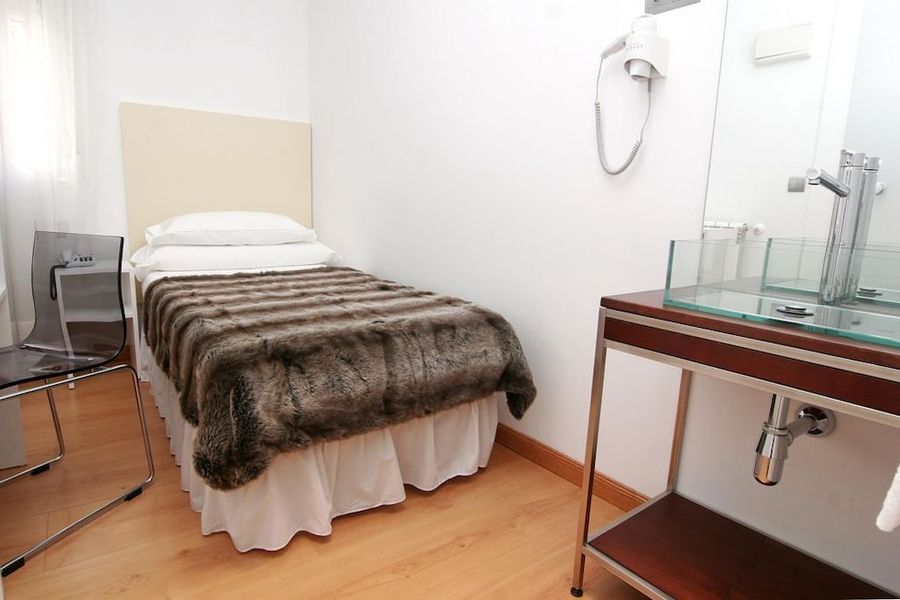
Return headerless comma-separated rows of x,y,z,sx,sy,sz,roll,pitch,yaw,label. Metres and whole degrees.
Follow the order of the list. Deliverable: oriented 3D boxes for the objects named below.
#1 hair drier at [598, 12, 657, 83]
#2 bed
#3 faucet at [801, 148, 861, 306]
0.775,-1.008,2.339,0.174,0.266,0.211,1,10,-22,hair drier
-0.900,0.156,3.242,1.506,1.136,2.359,-9,18,-33,bed
1.258,-0.237,1.829,0.178,0.480,0.353,13,19,34,faucet
